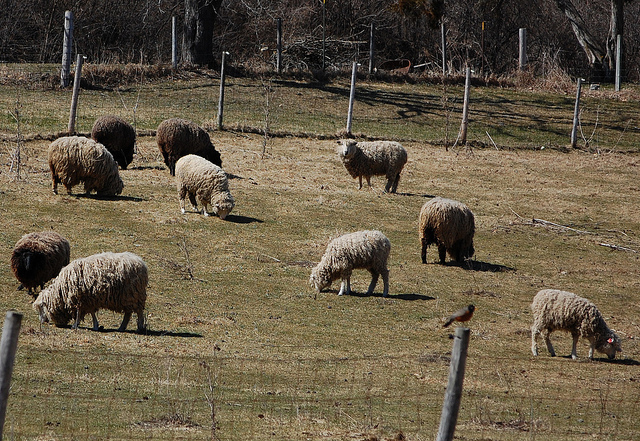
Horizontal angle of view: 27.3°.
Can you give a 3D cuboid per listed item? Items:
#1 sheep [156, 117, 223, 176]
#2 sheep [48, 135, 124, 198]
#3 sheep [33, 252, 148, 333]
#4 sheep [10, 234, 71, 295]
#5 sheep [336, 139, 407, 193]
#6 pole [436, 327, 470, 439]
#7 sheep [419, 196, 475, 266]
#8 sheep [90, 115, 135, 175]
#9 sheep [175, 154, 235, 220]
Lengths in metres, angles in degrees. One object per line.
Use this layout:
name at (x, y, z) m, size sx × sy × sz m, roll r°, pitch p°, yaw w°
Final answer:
sheep at (-4.477, -2.502, 45.062) m, size 1.777 × 2.162 × 2.033 m, roll -3°, pitch 18°, yaw -5°
sheep at (-7.369, -1.665, 42.205) m, size 2.457 × 1.990 × 1.358 m, roll 3°, pitch 5°, yaw -25°
sheep at (-5.946, 1.970, 34.667) m, size 2.920 × 2.263 × 1.370 m, roll -6°, pitch 8°, yaw -12°
sheep at (-7.599, 1.198, 35.950) m, size 1.350 × 1.682 × 2.762 m, roll 5°, pitch 12°, yaw 3°
sheep at (1.794, -1.867, 45.609) m, size 2.270 × 1.773 × 0.943 m, roll 2°, pitch 5°, yaw -12°
pole at (2.934, 3.667, 29.336) m, size 0.570 × 2.568 × 0.270 m, roll 3°, pitch 5°, yaw 6°
sheep at (3.806, 0.194, 40.527) m, size 1.413 × 2.198 × 1.526 m, roll 0°, pitch 16°, yaw 0°
sheep at (-6.905, -2.656, 45.190) m, size 1.063 × 1.781 × 2.521 m, roll 8°, pitch 1°, yaw 19°
sheep at (-3.632, -1.042, 41.874) m, size 2.306 × 1.798 × 1.029 m, roll 21°, pitch 20°, yaw 35°
